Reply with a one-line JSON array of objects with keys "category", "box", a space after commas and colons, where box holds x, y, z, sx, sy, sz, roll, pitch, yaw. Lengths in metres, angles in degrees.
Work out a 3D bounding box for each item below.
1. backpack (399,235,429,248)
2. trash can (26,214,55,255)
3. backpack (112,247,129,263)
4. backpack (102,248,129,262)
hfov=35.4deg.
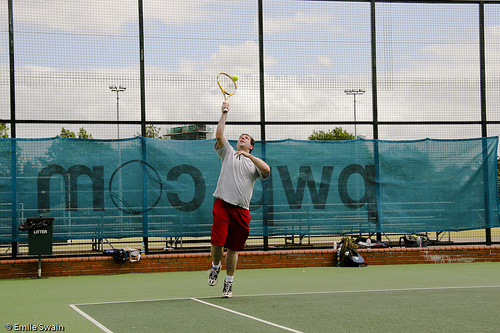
[{"category": "backpack", "box": [3.911, 1.755, 18.643, 0.719, 0.303, 0.100, -2, -4, -6]}, {"category": "trash can", "box": [-4.697, 1.423, 17.240, 0.581, 0.921, 0.629, 0, -18, 3]}, {"category": "backpack", "box": [-2.915, 1.972, 17.599, 0.235, 0.136, 0.342, -1, 18, -23]}, {"category": "backpack", "box": [-3.024, 1.963, 17.617, 0.417, 0.196, 0.272, 1, -5, 23]}]
